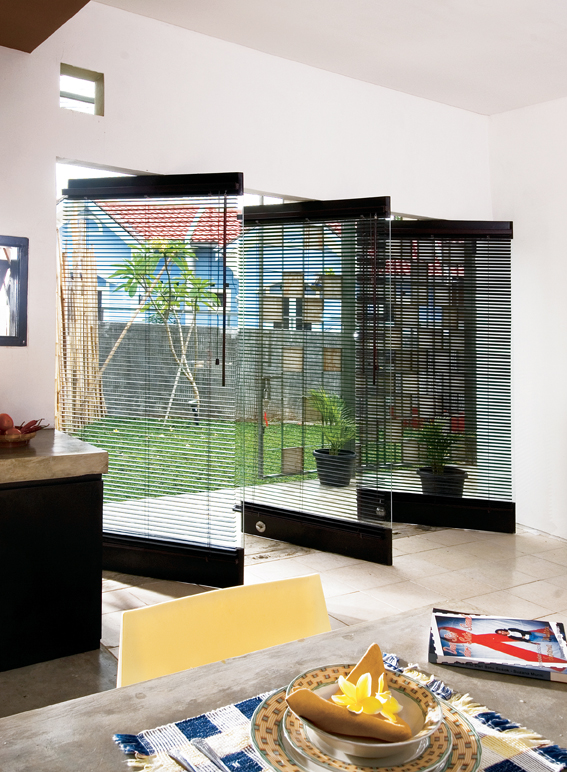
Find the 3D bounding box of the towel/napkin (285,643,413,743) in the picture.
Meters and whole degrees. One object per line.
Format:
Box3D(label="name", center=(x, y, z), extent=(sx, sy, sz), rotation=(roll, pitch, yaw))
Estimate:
Box3D(label="towel/napkin", center=(0.096, 0.375, 0.818), extent=(0.096, 0.039, 0.092), rotation=(5, 10, 23))
